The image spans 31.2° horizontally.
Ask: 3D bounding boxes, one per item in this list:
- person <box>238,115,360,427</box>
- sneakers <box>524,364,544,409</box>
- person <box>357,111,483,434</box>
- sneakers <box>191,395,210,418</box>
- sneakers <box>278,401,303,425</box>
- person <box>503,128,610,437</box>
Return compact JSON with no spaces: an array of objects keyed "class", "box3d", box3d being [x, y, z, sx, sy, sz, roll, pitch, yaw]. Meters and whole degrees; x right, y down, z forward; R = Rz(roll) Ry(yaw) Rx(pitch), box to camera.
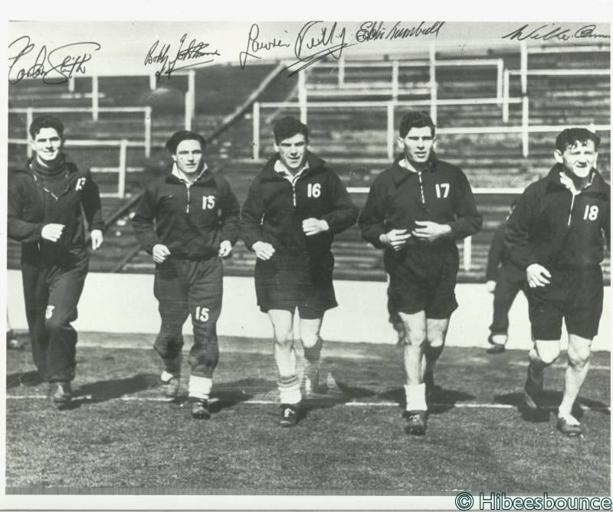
[{"class":"person","box3d":[-0.044,0.113,7.382,0.750,2.034,0.217,-1,6,-5]},{"class":"sneakers","box3d":[1.537,0.882,7.427,0.105,0.333,0.134,3,13,12]},{"class":"person","box3d":[0.750,0.122,7.349,0.780,2.137,0.202,-1,6,0]},{"class":"sneakers","box3d":[-0.711,1.032,7.407,0.161,0.150,0.084,0,-2,3]},{"class":"sneakers","box3d":[-0.103,1.061,7.381,0.126,0.158,0.058,1,4,-6]},{"class":"person","box3d":[1.699,0.177,7.382,0.682,2.047,0.219,0,6,8]}]
